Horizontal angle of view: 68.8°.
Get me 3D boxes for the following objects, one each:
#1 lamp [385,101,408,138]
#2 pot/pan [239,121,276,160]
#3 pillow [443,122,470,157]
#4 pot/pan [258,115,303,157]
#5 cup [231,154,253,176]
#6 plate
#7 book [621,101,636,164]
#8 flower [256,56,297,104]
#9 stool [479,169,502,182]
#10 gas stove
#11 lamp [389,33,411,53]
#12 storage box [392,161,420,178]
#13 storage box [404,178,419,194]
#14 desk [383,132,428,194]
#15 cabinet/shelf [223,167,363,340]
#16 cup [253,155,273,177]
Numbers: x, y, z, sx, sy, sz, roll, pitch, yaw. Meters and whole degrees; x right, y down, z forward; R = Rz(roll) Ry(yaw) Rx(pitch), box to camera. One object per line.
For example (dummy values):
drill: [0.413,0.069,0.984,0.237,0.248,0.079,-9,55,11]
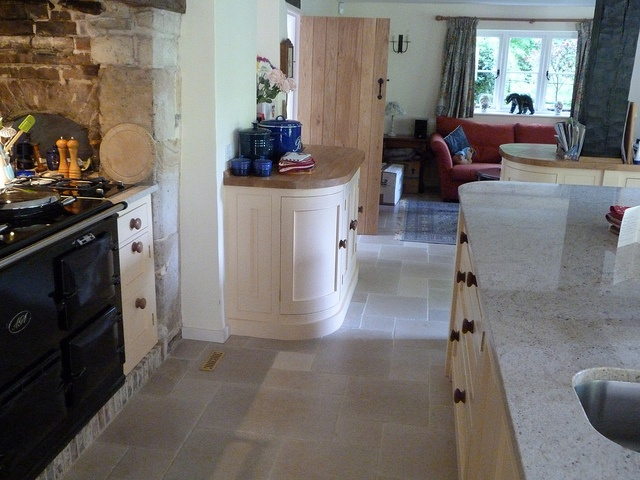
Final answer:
lamp: [1.210,-1.956,7.530,0.286,0.518,0.594,3,17,9]
pot/pan: [-0.408,-0.685,3.254,0.271,0.261,0.247,6,22,12]
pillow: [2.064,-1.461,6.988,0.451,0.415,0.134,-31,9,-40]
pot/pan: [-0.267,-0.803,3.562,0.310,0.338,0.340,2,19,7]
cup: [-0.507,-0.488,3.041,0.123,0.114,0.122,1,12,0]
plate: [-1.101,-0.508,2.711,0.305,0.313,0.032,21,18,7]
book: [2.576,-0.894,3.902,0.058,0.516,0.401,0,26,22]
flower: [-0.388,-1.304,3.826,0.281,0.345,0.439,-9,19,-28]
stool: [2.291,-0.865,6.342,0.276,0.120,0.583,7,18,21]
gas stove: [-1.346,-0.276,2.471,0.624,0.074,0.427,1,17,2]
lamp: [1.316,-3.113,7.438,0.282,0.291,0.359,-3,17,-12]
storage box: [1.422,-1.094,7.428,0.416,0.219,0.268,4,-6,4]
storage box: [1.444,-0.857,7.324,0.205,0.189,0.106,4,20,13]
desk: [1.214,-1.224,7.523,0.959,0.910,0.802,1,15,6]
cabinet/shelf: [-0.229,0.159,3.178,0.844,1.061,0.219,-3,18,-12]
cup: [-0.372,-0.480,3.117,0.142,0.141,0.142,1,19,0]
